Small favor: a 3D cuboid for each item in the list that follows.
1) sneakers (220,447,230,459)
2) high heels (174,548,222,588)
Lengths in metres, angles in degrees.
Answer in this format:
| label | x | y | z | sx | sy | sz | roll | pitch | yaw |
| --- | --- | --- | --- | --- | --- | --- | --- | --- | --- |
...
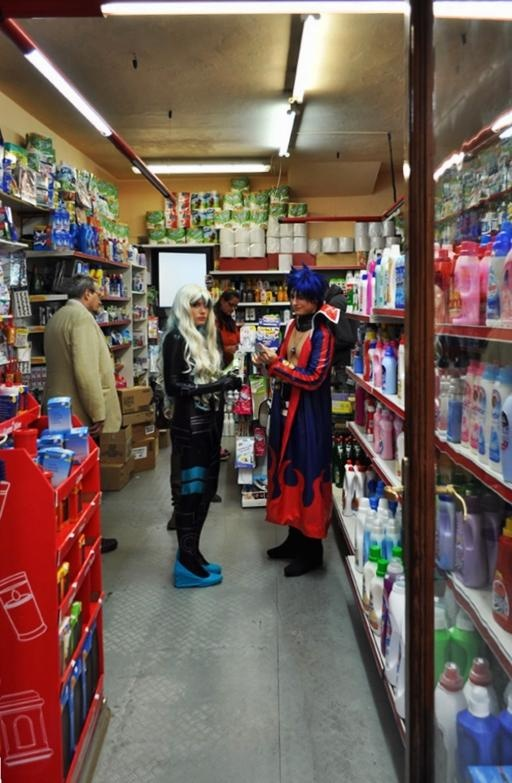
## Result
| label | x | y | z | sx | sy | sz | roll | pitch | yaw |
| --- | --- | --- | --- | --- | --- | --- | --- | --- | --- |
| sneakers | -0.357 | 0.732 | 6.157 | 0.097 | 0.142 | 0.300 | 0 | -10 | 1 |
| high heels | -0.342 | 1.057 | 3.115 | 0.222 | 0.098 | 0.179 | -1 | 6 | -7 |
